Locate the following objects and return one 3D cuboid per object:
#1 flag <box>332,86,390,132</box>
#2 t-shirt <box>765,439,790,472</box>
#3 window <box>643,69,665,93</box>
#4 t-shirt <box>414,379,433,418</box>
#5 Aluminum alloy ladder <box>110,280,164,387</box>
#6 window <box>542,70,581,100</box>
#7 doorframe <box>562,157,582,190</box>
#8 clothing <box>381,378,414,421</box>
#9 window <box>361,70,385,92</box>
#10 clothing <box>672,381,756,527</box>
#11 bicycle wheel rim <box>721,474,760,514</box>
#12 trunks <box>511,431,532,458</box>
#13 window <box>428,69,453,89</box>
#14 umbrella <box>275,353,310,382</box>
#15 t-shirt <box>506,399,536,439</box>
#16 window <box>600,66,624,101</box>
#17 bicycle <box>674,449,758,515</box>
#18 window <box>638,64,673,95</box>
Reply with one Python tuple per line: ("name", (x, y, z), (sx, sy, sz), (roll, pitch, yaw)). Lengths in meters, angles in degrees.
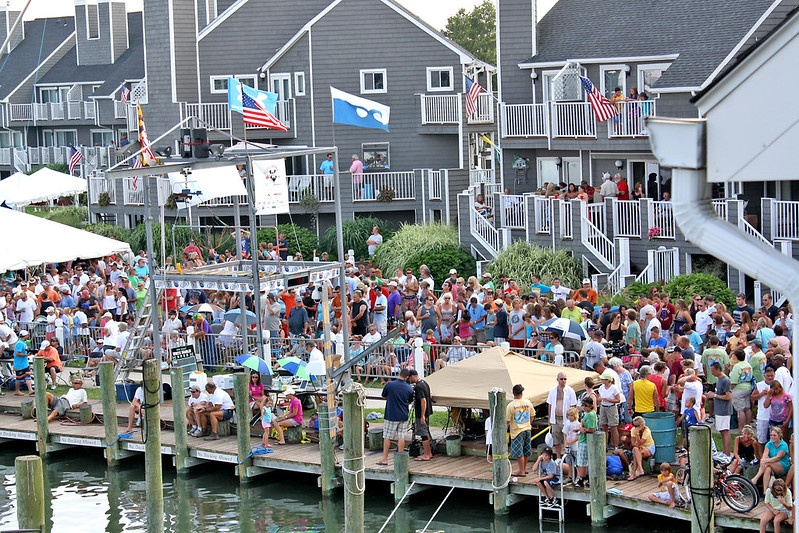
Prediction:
("flag", (-1.325, -5.790, 62.563), (2.447, 1.880, 0.245), (1, 24, -5))
("t-shirt", (9.332, 4.649, 42.268), (0.487, 0.766, 0.602), (4, -19, -39))
("window", (8.777, -6.313, 58.733), (1.022, 1.110, 0.124), (2, -1, 41))
("t-shirt", (0.641, 3.413, 45.227), (0.490, 0.892, 0.753), (-2, 11, 14))
("Aluminum alloy ladder", (-7.700, 1.856, 51.058), (0.542, 3.046, 0.439), (-13, -38, 29))
("window", (5.858, -6.460, 61.085), (1.135, 1.142, 0.064), (-1, -4, -12))
("doorframe", (6.256, -3.457, 61.669), (0.891, 1.300, 0.876), (0, 1, 14))
("clothing", (0.025, 3.507, 45.305), (0.750, 1.107, 0.424), (-1, 1, -3))
("window", (-1.043, -7.432, 69.054), (0.884, 0.766, 0.101), (0, 3, 9))
("clothing", (7.927, 5.148, 42.656), (1.541, 1.823, 2.943), (-9, 11, -29))
("bicycle wheel rim", (8.474, 5.623, 42.526), (0.932, 0.943, 0.242), (2, -2, 24))
("trunks", (3.156, 4.553, 44.465), (0.658, 0.790, 0.465), (-2, 7, -13))
("window", (1.703, -7.543, 68.970), (0.760, 0.650, 0.080), (1, 11, 11))
("umbrella", (-2.800, 2.743, 46.391), (0.766, 0.529, 0.634), (-1, 1, 14))
("t-shirt", (3.133, 3.887, 44.393), (0.940, 1.033, 0.554), (-6, 10, -16))
("window", (7.622, -6.360, 60.667), (0.905, 1.671, 0.157), (-4, 37, 6))
("bicycle", (7.848, 5.335, 42.981), (2.525, 1.525, 1.133), (3, 17, 43))
("window", (8.828, -6.387, 58.696), (1.240, 1.195, 0.107), (5, 7, 41))
